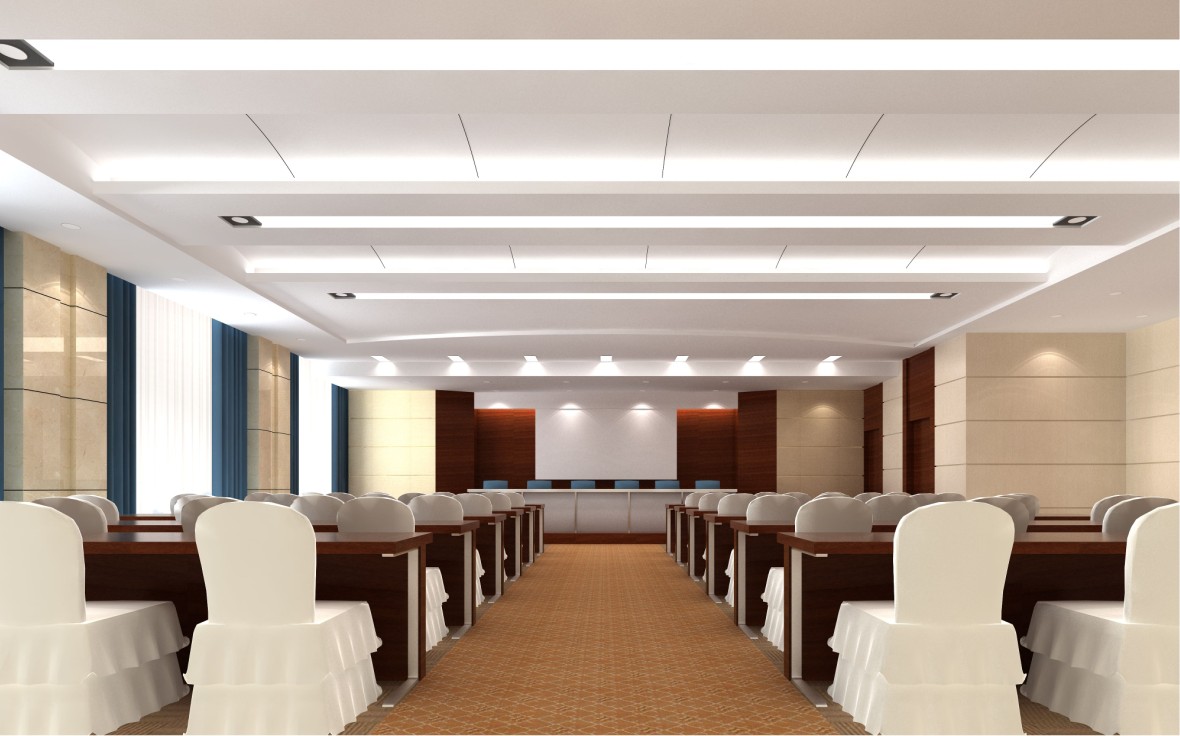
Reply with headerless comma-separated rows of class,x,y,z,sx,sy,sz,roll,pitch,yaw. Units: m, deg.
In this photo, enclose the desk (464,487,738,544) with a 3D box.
desk,0.647,3.075,17.259,1.053,1.159,5.415,-17,1,-35
